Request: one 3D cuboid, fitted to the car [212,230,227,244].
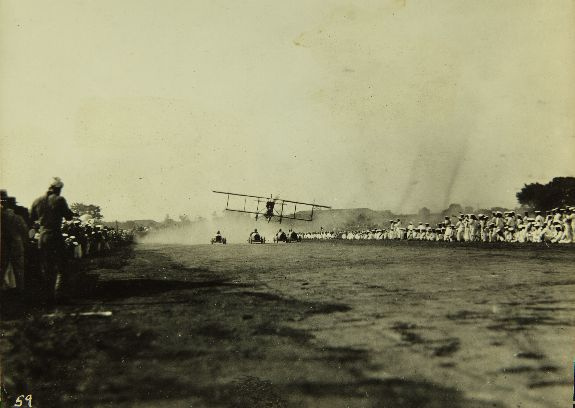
[{"bbox_3d":[-5.815,2.813,46.709,1.159,1.548,1.237,0,-10,-1],"label":"car"}]

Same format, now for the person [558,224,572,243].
[{"bbox_3d":[15.431,1.678,30.351,0.908,1.251,0.623,1,0,6],"label":"person"}]

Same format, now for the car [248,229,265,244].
[{"bbox_3d":[-3.123,3.158,54.265,1.752,1.425,2.850,1,-5,-3],"label":"car"}]

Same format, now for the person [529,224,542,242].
[{"bbox_3d":[14.678,1.659,32.448,0.377,0.987,0.966,0,-4,-13],"label":"person"}]

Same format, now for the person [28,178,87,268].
[{"bbox_3d":[-6.830,0.839,15.995,1.272,2.738,1.178,3,2,9],"label":"person"}]

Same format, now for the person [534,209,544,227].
[{"bbox_3d":[15.965,0.856,34.851,0.992,0.940,0.588,1,11,-31],"label":"person"}]
